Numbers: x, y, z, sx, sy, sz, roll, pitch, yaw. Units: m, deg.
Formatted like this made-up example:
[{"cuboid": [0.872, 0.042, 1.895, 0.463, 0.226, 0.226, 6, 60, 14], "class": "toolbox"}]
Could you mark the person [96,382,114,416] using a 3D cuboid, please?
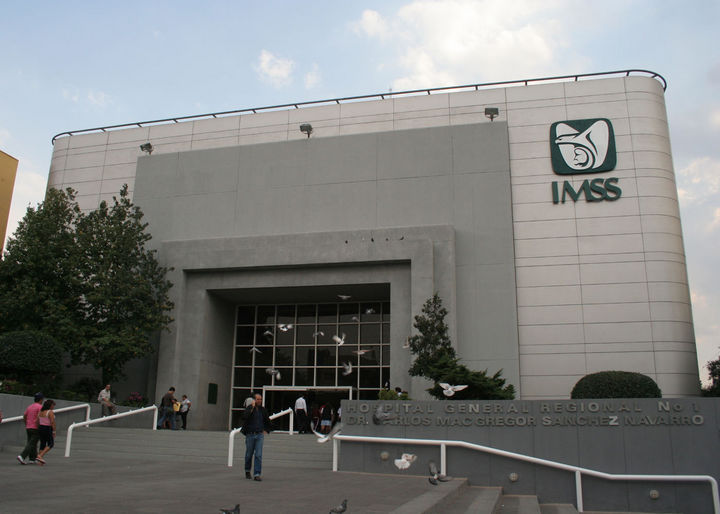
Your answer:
[{"cuboid": [-10.596, 6.024, 24.909, 0.584, 1.278, 1.254, 4, -17, -11], "class": "person"}]

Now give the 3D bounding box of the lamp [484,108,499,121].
[{"cuboid": [6.899, -7.481, 31.228, 0.829, 1.086, 0.353, 1, 2, 12], "class": "lamp"}]

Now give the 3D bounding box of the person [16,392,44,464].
[{"cuboid": [-9.073, 4.738, 16.450, 0.477, 1.842, 0.832, 10, -19, -27], "class": "person"}]

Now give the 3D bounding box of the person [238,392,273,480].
[{"cuboid": [-2.726, 4.662, 15.457, 0.918, 2.121, 0.886, 11, -19, -35], "class": "person"}]

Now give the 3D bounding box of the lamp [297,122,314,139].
[{"cuboid": [-3.024, -7.338, 33.761, 0.858, 0.316, 0.925, 1, -27, 2], "class": "lamp"}]

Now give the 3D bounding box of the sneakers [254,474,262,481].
[{"cuboid": [-2.677, 5.703, 15.371, 0.262, 0.185, 0.091, -6, -13, 24], "class": "sneakers"}]

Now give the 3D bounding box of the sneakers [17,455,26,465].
[{"cuboid": [-9.226, 5.527, 16.221, 0.192, 0.253, 0.527, 10, -19, -27], "class": "sneakers"}]

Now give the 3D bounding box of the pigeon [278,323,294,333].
[{"cuboid": [-4.017, 3.818, 31.698, 0.646, 0.457, 0.157, -1, 0, 10], "class": "pigeon"}]
